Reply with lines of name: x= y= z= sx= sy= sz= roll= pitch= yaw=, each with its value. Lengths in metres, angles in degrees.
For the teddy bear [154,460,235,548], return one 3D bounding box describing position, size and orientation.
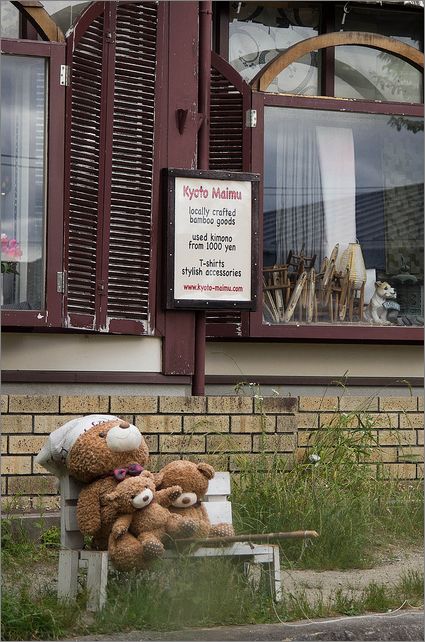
teddy bear: x=-0.093 y=0.735 z=5.355 sx=0.292 sy=0.443 sz=0.299 roll=0 pitch=5 yaw=-33
